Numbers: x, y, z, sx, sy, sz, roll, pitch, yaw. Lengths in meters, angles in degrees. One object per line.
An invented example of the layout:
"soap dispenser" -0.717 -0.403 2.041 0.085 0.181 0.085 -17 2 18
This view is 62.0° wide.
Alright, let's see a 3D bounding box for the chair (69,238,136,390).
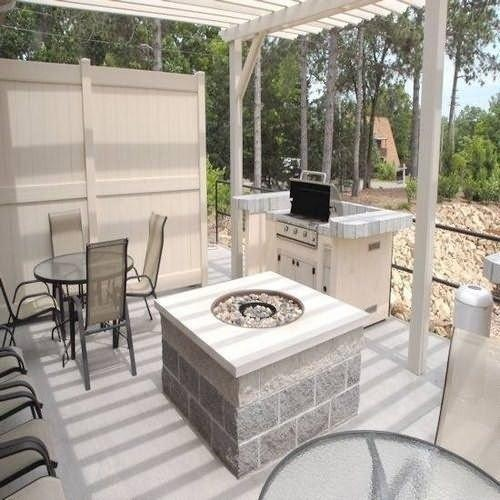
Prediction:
"chair" -1.331 0.434 3.606 0.615 1.212 1.012 -7 14 -28
